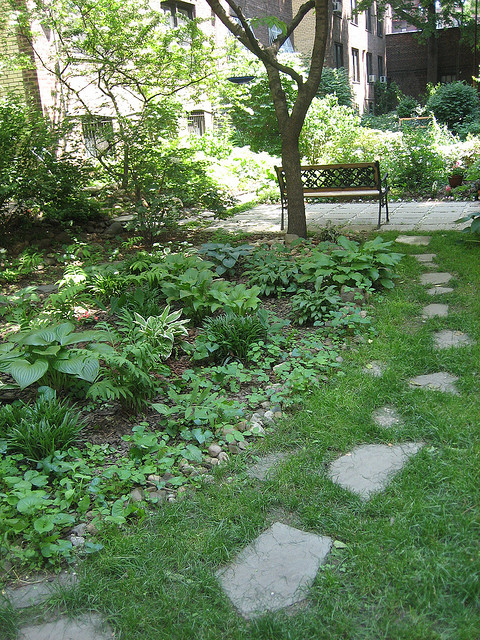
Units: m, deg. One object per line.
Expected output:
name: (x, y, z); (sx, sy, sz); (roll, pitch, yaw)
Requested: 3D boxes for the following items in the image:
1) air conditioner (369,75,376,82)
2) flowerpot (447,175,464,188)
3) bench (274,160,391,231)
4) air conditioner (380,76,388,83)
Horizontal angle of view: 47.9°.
air conditioner: (7.079, -12.854, 28.847); (0.309, 0.407, 0.611); (-2, 12, 17)
flowerpot: (4.336, -2.760, 10.856); (0.287, 0.188, 0.264); (0, 11, 2)
bench: (1.617, -1.942, 8.437); (1.288, 1.042, 1.131); (-1, 13, 21)
air conditioner: (7.861, -13.150, 29.644); (0.344, 0.423, 0.734); (0, 13, 26)
